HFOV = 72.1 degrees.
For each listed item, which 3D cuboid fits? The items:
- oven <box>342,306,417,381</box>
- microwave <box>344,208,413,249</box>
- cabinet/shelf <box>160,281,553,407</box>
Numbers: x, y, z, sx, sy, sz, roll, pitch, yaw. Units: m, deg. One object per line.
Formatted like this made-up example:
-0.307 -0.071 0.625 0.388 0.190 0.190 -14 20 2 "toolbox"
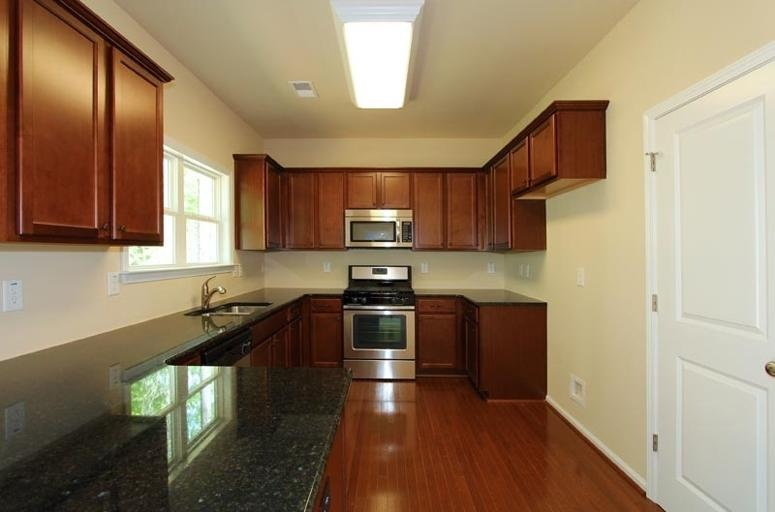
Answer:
-0.073 0.827 5.569 0.749 0.815 0.563 1 4 5 "oven"
-0.050 -0.283 5.765 0.747 0.449 0.447 1 6 15 "microwave"
-0.043 0.841 4.992 2.799 0.909 1.522 0 1 -22 "cabinet/shelf"
